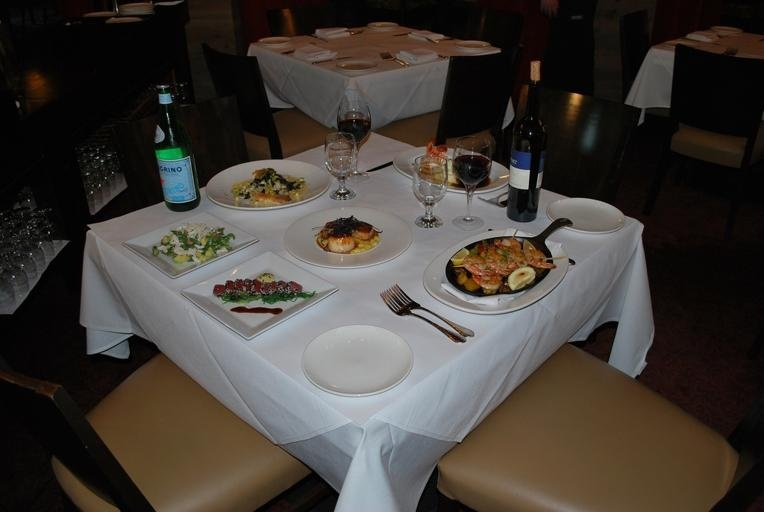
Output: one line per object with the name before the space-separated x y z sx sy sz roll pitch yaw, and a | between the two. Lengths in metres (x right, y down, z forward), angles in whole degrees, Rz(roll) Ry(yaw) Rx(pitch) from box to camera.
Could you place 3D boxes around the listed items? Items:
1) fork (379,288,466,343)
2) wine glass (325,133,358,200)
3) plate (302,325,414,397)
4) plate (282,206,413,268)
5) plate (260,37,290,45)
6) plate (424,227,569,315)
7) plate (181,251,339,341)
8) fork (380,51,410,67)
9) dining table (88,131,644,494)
fork | 0.107 0.166 1.406 0.272 0.044 0.073 28 44 33
wine glass | -0.146 -0.309 1.837 0.117 0.242 0.118 -33 51 -30
plate | -0.061 0.261 1.308 0.274 0.063 0.176 4 36 6
plate | -0.092 -0.051 1.623 0.245 0.038 0.245 -24 44 -27
plate | -0.733 -1.500 3.596 0.133 0.026 0.139 7 28 14
plate | 0.371 0.079 1.483 0.332 0.049 0.251 -28 49 -28
plate | -0.349 0.105 1.466 0.377 0.074 0.265 -22 41 -27
fork | 0.071 -1.263 3.257 0.095 0.024 0.272 -17 32 -25
dining table | 0.155 0.076 1.504 1.155 0.453 1.175 30 48 30
